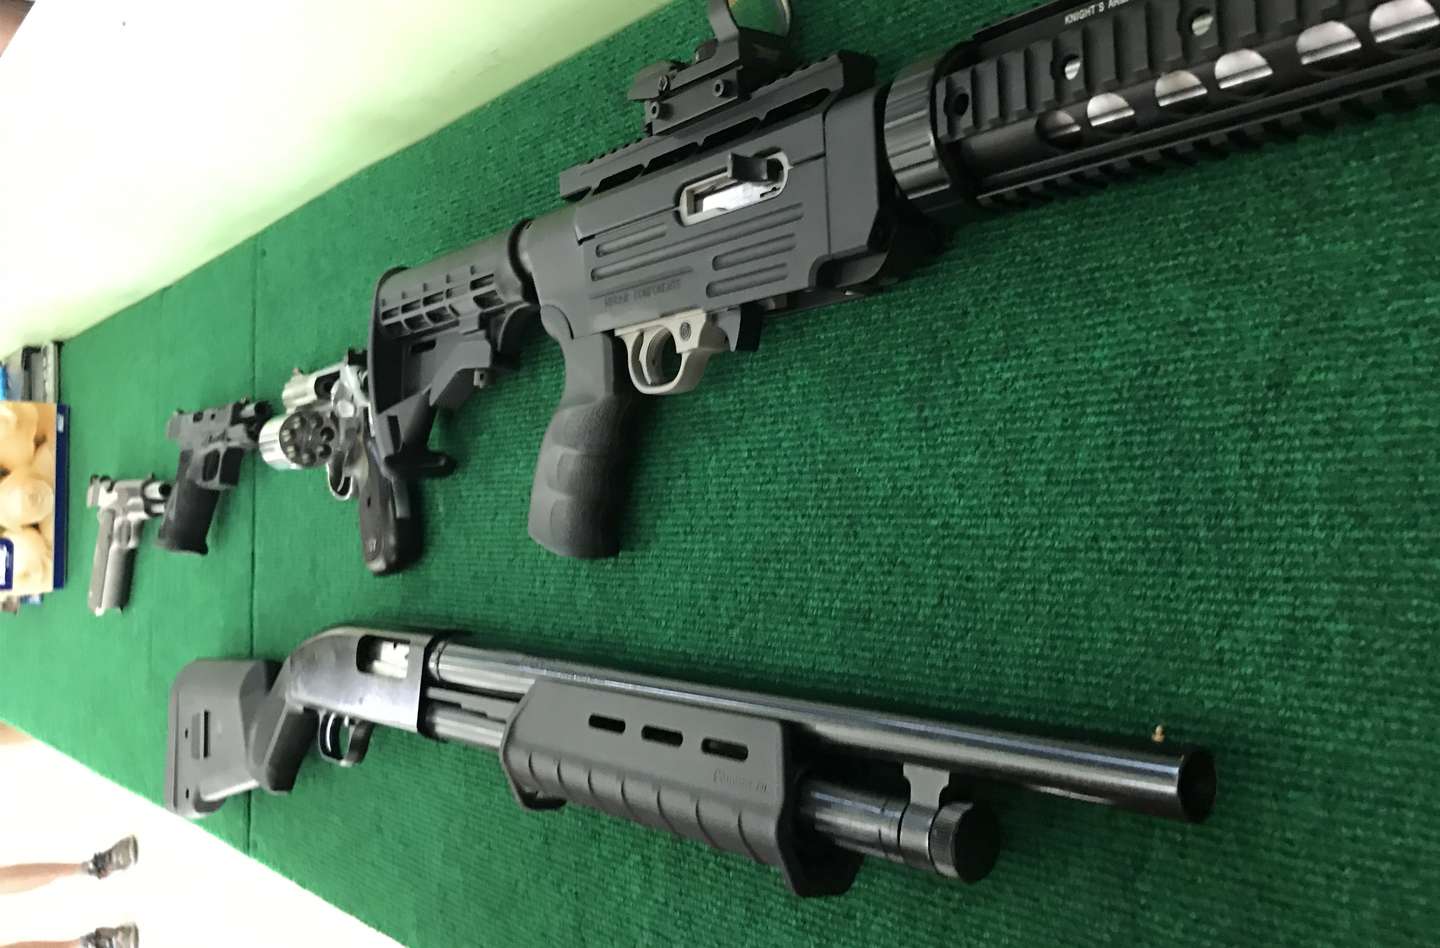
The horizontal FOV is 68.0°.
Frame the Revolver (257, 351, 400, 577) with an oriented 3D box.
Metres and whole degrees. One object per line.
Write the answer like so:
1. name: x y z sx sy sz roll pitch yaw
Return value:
1. Revolver: -0.797 -0.021 2.217 0.468 0.400 0.097 4 -3 35
